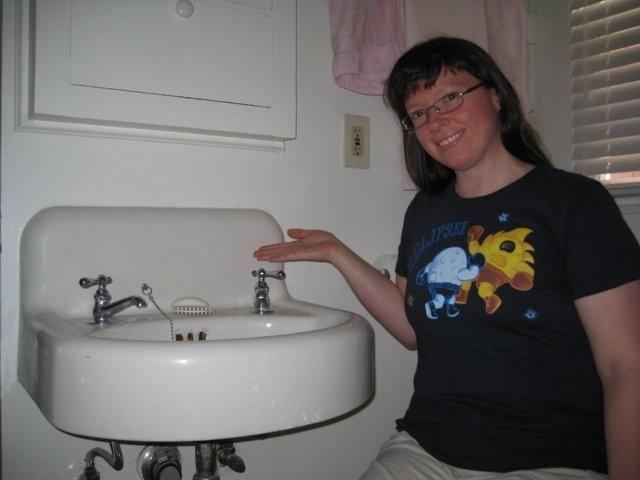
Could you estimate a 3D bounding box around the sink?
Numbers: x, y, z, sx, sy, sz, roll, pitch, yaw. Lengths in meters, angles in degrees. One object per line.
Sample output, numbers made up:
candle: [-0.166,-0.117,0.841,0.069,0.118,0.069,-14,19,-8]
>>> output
sink: [-0.262,0.254,1.132,0.751,0.153,0.375,-6,4,-15]
